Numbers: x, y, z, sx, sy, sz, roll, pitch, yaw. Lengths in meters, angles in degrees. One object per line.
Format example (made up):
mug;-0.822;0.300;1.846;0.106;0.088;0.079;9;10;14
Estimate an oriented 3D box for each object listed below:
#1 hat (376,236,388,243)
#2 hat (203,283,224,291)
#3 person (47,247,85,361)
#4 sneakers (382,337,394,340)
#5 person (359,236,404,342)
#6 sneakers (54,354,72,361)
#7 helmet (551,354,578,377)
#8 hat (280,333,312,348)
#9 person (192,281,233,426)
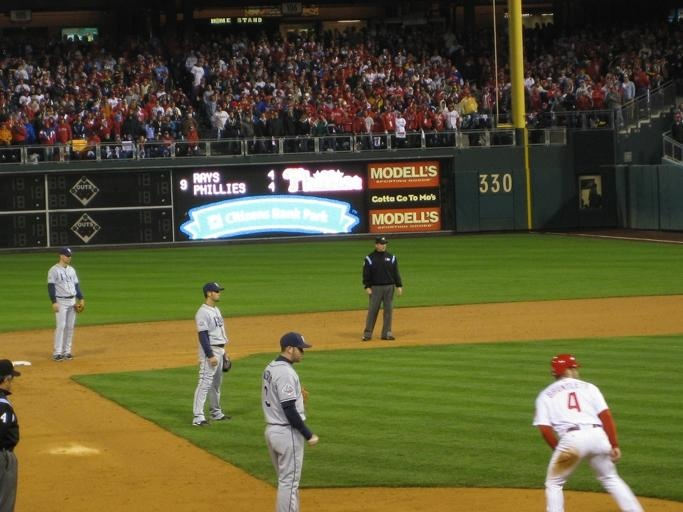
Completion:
hat;0.952;-0.468;37.862;0.258;0.164;0.333;-3;4;-42
hat;-3.322;0.751;35.117;0.490;0.187;0.338;-1;5;2
person;-7.479;1.253;37.330;0.835;2.971;1.143;-3;3;-11
sneakers;1.186;2.246;38.378;0.331;0.138;0.109;-1;5;5
person;0.991;0.888;38.118;1.066;2.861;1.060;-3;3;0
sneakers;-7.530;2.694;37.206;0.451;0.204;0.182;-2;-1;20
helmet;4.647;2.292;29.324;0.554;0.404;0.391;3;-5;-25
hat;-1.064;1.766;29.345;0.502;0.270;0.346;-4;4;-3
person;-3.195;2.298;32.906;0.887;3.356;1.056;-3;3;0
